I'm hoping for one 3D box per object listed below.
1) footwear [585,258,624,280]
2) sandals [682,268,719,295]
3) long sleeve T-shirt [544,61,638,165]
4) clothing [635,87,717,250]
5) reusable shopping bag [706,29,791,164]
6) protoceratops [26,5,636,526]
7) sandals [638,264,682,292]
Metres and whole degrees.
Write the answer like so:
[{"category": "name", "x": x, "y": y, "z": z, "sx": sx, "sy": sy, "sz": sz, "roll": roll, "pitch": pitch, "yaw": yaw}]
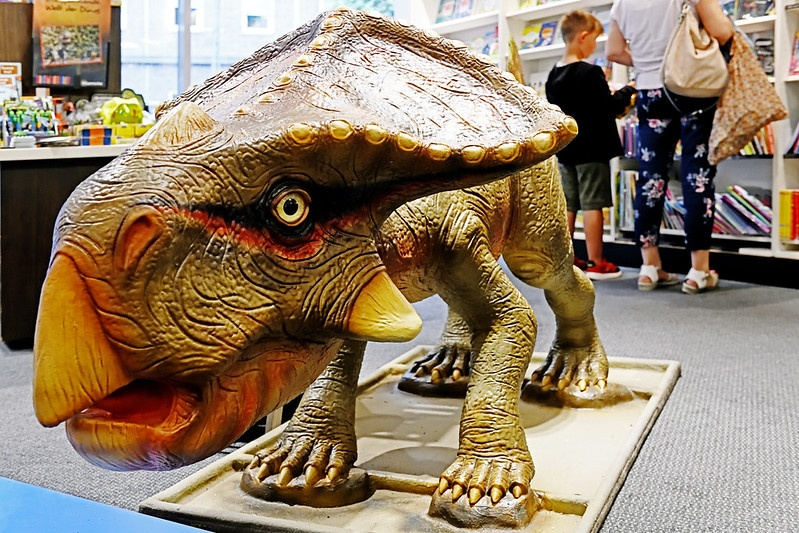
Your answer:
[{"category": "footwear", "x": 1.068, "y": 0.016, "z": 3.638, "sx": 0.189, "sy": 0.099, "sz": 0.078, "roll": -10, "pitch": 13, "yaw": -39}, {"category": "sandals", "x": 1.404, "y": 0.072, "z": 3.250, "sx": 0.084, "sy": 0.099, "sz": 0.215, "roll": 6, "pitch": 17, "yaw": 38}, {"category": "long sleeve T-shirt", "x": 1.051, "y": -0.879, "z": 3.734, "sx": 0.423, "sy": 0.493, "sz": 0.514, "roll": 2, "pitch": 19, "yaw": 37}, {"category": "clothing", "x": 1.286, "y": -0.455, "z": 3.303, "sx": 0.365, "sy": 0.873, "sz": 0.279, "roll": 6, "pitch": -19, "yaw": 9}, {"category": "reusable shopping bag", "x": 1.482, "y": -0.718, "z": 2.952, "sx": 0.290, "sy": 0.561, "sz": 0.140, "roll": 3, "pitch": 9, "yaw": 24}, {"category": "protoceratops", "x": -0.079, "y": 0.045, "z": 1.308, "sx": 0.699, "sy": 0.748, "sz": 1.071, "roll": 1, "pitch": 6, "yaw": 36}, {"category": "sandals", "x": 1.285, "y": 0.051, "z": 3.425, "sx": 0.088, "sy": 0.105, "sz": 0.240, "roll": 4, "pitch": 13, "yaw": 40}]
